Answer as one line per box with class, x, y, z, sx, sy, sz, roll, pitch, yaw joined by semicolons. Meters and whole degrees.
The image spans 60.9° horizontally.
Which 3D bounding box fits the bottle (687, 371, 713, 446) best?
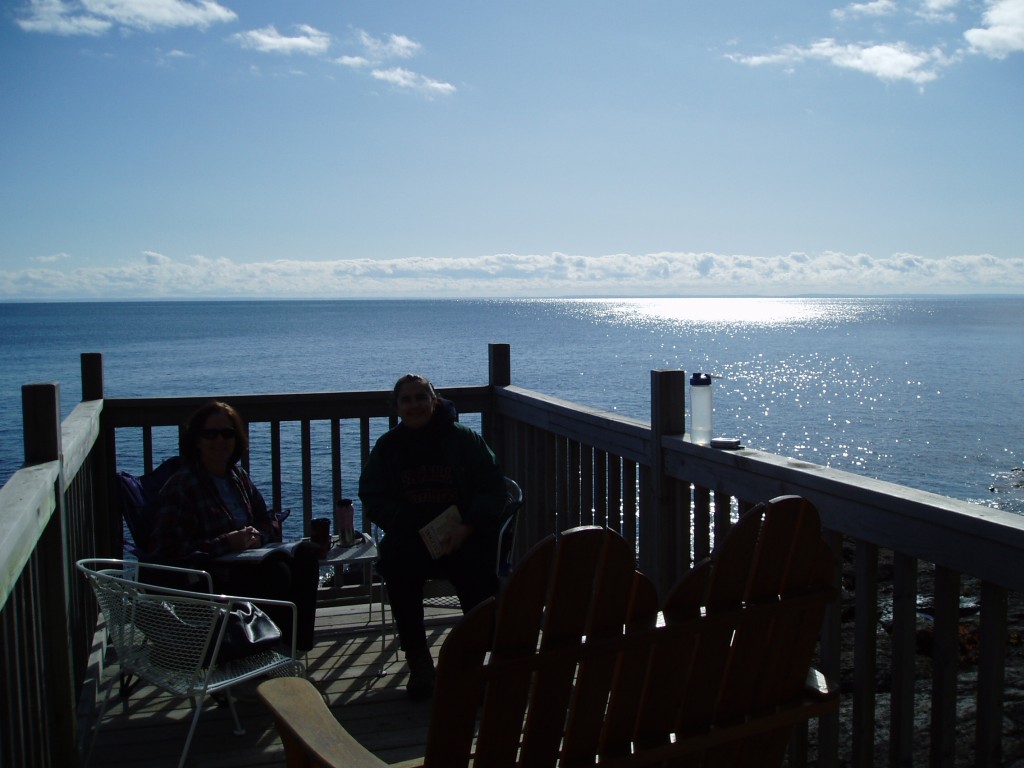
bottle;0.782;0.095;3.616;0.085;0.240;0.273;-1;6;10
